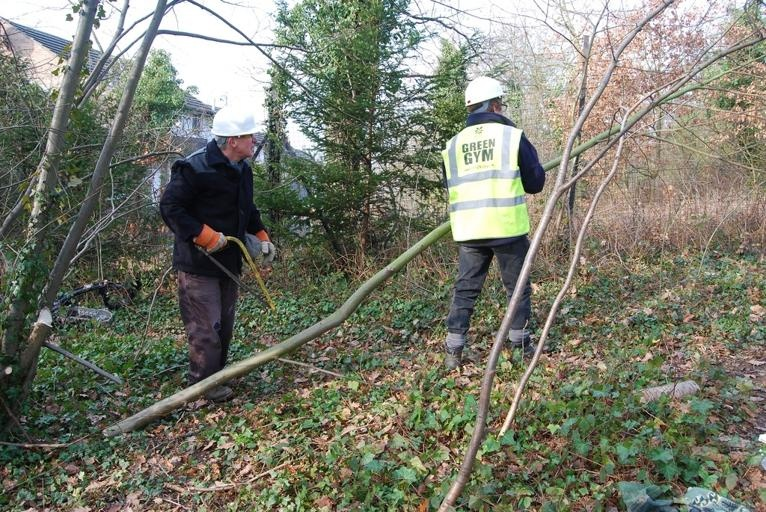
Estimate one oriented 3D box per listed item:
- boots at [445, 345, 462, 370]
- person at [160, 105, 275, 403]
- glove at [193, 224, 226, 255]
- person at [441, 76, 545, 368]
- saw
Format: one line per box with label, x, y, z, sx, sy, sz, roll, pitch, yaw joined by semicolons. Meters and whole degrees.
boots;0.806;1.171;6.114;0.159;0.216;0.485;-1;-13;7
person;-1.965;0.011;6.298;0.976;3.359;1.364;9;11;23
glove;-1.876;-0.178;5.855;0.271;0.276;0.323;-4;10;-1
person;1.186;-0.350;6.030;1.028;3.253;0.488;1;6;8
saw;-1.641;0.089;6.422;0.379;1.131;0.055;-29;11;25
